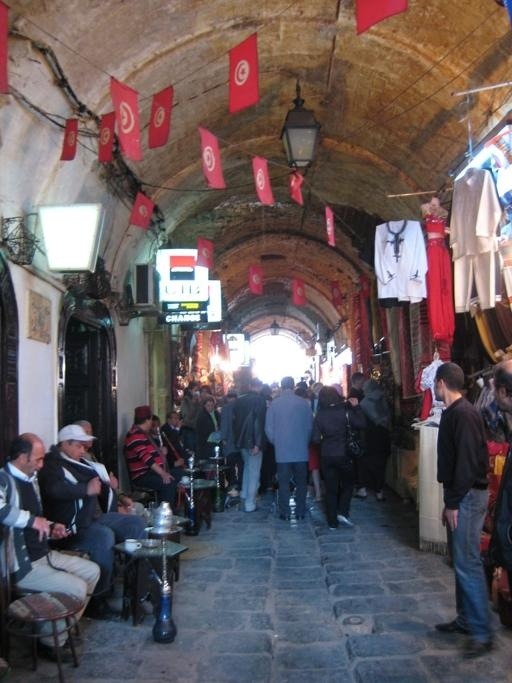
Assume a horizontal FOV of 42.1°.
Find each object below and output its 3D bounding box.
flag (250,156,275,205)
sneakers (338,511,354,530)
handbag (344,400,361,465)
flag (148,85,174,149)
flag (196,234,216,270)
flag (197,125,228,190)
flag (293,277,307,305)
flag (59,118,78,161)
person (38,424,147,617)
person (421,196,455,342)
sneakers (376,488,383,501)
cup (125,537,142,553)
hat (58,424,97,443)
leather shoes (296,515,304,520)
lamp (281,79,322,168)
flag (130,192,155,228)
[{"bbox_3d":[0.051,-1.597,6.669,0.019,0.674,0.198,-3,11,43],"label":"flag"},{"bbox_3d":[1.007,2.041,7.529,0.105,0.080,0.253,12,1,-23],"label":"sneakers"},{"bbox_3d":[1.111,1.074,7.630,0.172,0.645,0.434,-3,-4,7],"label":"handbag"},{"bbox_3d":[-0.801,-1.931,5.602,0.199,0.663,0.440,-2,-4,-8],"label":"flag"},{"bbox_3d":[-0.741,-1.306,9.604,0.211,0.488,0.729,-2,-4,-5],"label":"flag"},{"bbox_3d":[-0.390,-1.683,5.889,0.192,0.635,0.697,-2,-4,-3],"label":"flag"},{"bbox_3d":[1.115,-1.328,16.992,0.129,1.064,1.179,-3,0,15],"label":"flag"},{"bbox_3d":[-1.534,-1.674,5.484,0.130,0.431,0.334,-1,-4,-15],"label":"flag"},{"bbox_3d":[-1.269,1.312,5.175,0.691,1.297,0.712,-4,-2,14],"label":"person"},{"bbox_3d":[1.975,-0.759,7.204,0.276,1.584,0.601,-3,-4,17],"label":"person"},{"bbox_3d":[1.715,2.123,9.134,0.065,0.148,0.151,0,4,16],"label":"sneakers"},{"bbox_3d":[-0.880,1.482,4.805,0.109,0.077,0.073,11,-19,-34],"label":"cup"},{"bbox_3d":[-1.408,0.724,5.202,0.205,0.114,0.139,2,-4,-7],"label":"hat"},{"bbox_3d":[0.536,2.159,8.112,0.097,0.050,0.154,-3,-4,6],"label":"leather shoes"},{"bbox_3d":[0.477,-2.461,7.293,0.384,1.211,0.983,-2,-4,3],"label":"lamp"},{"bbox_3d":[-1.220,-1.418,7.073,0.209,0.419,0.556,-2,-4,-3],"label":"flag"}]
